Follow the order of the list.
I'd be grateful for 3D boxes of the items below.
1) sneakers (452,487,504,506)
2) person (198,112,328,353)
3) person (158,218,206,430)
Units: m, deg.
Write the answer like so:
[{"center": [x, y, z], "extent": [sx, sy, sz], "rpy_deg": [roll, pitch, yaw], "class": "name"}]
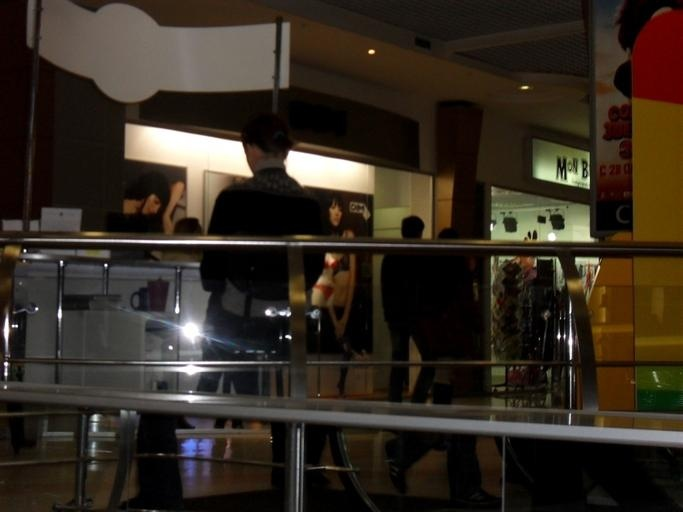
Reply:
[{"center": [0.378, 0.665, 1.996], "extent": [0.130, 0.065, 0.045], "rpy_deg": [-11, -14, 24], "class": "sneakers"}, {"center": [-0.326, 0.024, 2.474], "extent": [0.277, 1.019, 0.316], "rpy_deg": [22, 19, 40], "class": "person"}, {"center": [-1.208, 0.245, 5.511], "extent": [0.305, 1.436, 0.395], "rpy_deg": [-7, -45, 0], "class": "person"}]
